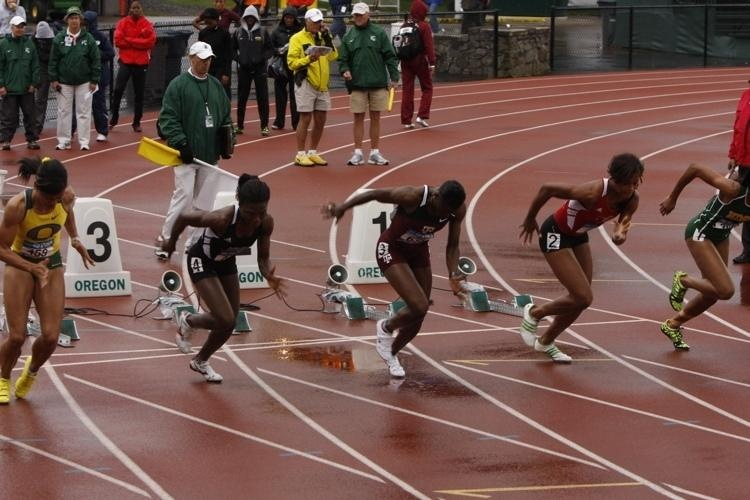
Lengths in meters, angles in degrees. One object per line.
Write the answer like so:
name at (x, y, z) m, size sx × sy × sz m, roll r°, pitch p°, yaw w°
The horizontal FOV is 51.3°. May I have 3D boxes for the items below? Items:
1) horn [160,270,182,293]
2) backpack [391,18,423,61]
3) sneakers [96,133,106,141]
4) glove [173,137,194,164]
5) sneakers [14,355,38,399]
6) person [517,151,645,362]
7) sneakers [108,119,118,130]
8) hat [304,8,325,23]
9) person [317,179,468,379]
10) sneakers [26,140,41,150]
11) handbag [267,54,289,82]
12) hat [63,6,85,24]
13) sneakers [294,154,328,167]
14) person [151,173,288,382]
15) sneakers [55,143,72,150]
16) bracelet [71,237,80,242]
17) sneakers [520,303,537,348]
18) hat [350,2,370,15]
horn at (-2.400, 0.353, 9.181) m, size 0.314 × 0.255 × 0.216 m, roll 2°, pitch -5°, yaw -30°
backpack at (0.786, -4.935, 18.257) m, size 0.679 × 0.904 × 0.413 m, roll 0°, pitch 14°, yaw 4°
sneakers at (-6.110, -2.540, 17.417) m, size 0.153 × 0.099 × 0.281 m, roll -1°, pitch 3°, yaw -8°
glove at (-2.518, -1.340, 10.249) m, size 0.257 × 0.267 × 0.269 m, roll -2°, pitch -6°, yaw -14°
sneakers at (-3.189, 1.170, 7.136) m, size 0.166 × 0.413 × 0.198 m, roll 20°, pitch 0°, yaw -33°
person at (2.149, 0.083, 8.272) m, size 1.182 × 2.251 × 0.539 m, roll 2°, pitch 14°, yaw 12°
sneakers at (-6.250, -3.025, 18.620) m, size 0.193 × 0.216 × 0.073 m, roll 7°, pitch 10°, yaw -6°
hat at (-1.169, -4.576, 15.121) m, size 0.281 × 0.278 × 0.366 m, roll 0°, pitch 13°, yaw 2°
person at (0.315, 0.273, 7.879) m, size 1.162 × 2.025 × 0.612 m, roll 1°, pitch 14°, yaw 8°
sneakers at (-7.103, -2.254, 16.433) m, size 0.353 × 0.193 × 0.151 m, roll 0°, pitch 20°, yaw 1°
handbag at (-2.137, -4.157, 17.518) m, size 0.501 × 0.510 × 0.282 m, roll -3°, pitch 14°, yaw -9°
hat at (-6.084, -4.831, 15.773) m, size 0.243 × 0.271 × 0.416 m, roll -6°, pitch 14°, yaw -23°
sneakers at (-1.307, -1.824, 15.618) m, size 0.543 × 0.176 × 0.305 m, roll 1°, pitch 7°, yaw 21°
person at (-1.435, 0.287, 7.418) m, size 1.129 × 2.049 × 0.671 m, roll 0°, pitch 14°, yaw 5°
sneakers at (-6.616, -2.242, 16.563) m, size 0.296 × 0.159 × 0.281 m, roll -5°, pitch 13°, yaw -20°
bracelet at (-2.802, -0.108, 7.318) m, size 0.056 × 0.044 × 0.054 m, roll -2°, pitch -7°, yaw 34°
sneakers at (1.690, 0.819, 8.571) m, size 0.189 × 0.454 × 0.219 m, roll -7°, pitch 18°, yaw -14°
hat at (-0.277, -4.767, 15.322) m, size 0.284 × 0.265 × 0.546 m, roll -1°, pitch 12°, yaw -4°
